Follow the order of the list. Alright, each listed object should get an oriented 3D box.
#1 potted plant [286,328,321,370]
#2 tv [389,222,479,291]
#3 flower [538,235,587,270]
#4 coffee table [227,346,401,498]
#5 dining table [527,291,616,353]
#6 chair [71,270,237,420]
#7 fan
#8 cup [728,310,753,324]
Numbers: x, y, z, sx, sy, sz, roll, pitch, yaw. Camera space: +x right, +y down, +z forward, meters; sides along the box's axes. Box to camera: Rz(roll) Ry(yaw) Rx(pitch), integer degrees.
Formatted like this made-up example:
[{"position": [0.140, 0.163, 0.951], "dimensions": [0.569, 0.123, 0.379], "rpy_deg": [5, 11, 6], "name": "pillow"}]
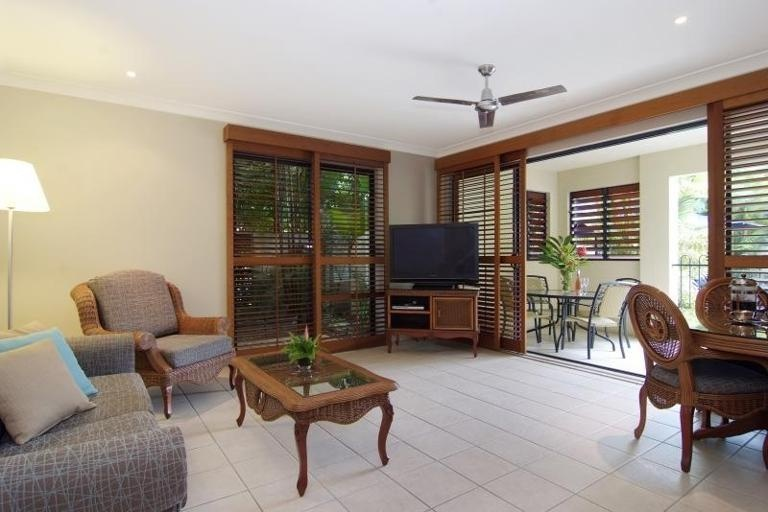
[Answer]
[{"position": [-0.740, 0.862, 4.579], "dimensions": [0.400, 0.315, 0.386], "rpy_deg": [2, -5, -12], "name": "potted plant"}, {"position": [0.726, -0.007, 6.964], "dimensions": [1.001, 0.692, 0.289], "rpy_deg": [0, -4, 6], "name": "tv"}, {"position": [2.814, -0.012, 7.690], "dimensions": [0.694, 0.374, 0.698], "rpy_deg": [4, -1, 24], "name": "flower"}, {"position": [-0.559, 1.111, 4.107], "dimensions": [0.940, 0.588, 1.394], "rpy_deg": [3, -2, -34], "name": "coffee table"}, {"position": [2.640, 0.963, 7.292], "dimensions": [0.987, 0.670, 0.969], "rpy_deg": [1, 4, 6], "name": "dining table"}, {"position": [-2.421, 0.841, 5.391], "dimensions": [1.609, 1.438, 1.478], "rpy_deg": [-2, -4, 28], "name": "chair"}, {"position": [1.097, -1.556, 4.878], "dimensions": [0.894, 0.330, 0.917], "rpy_deg": [-2, 3, -38], "name": "fan"}, {"position": [3.049, 0.515, 4.156], "dimensions": [0.120, 0.078, 0.125], "rpy_deg": [0, -5, 0], "name": "cup"}]
